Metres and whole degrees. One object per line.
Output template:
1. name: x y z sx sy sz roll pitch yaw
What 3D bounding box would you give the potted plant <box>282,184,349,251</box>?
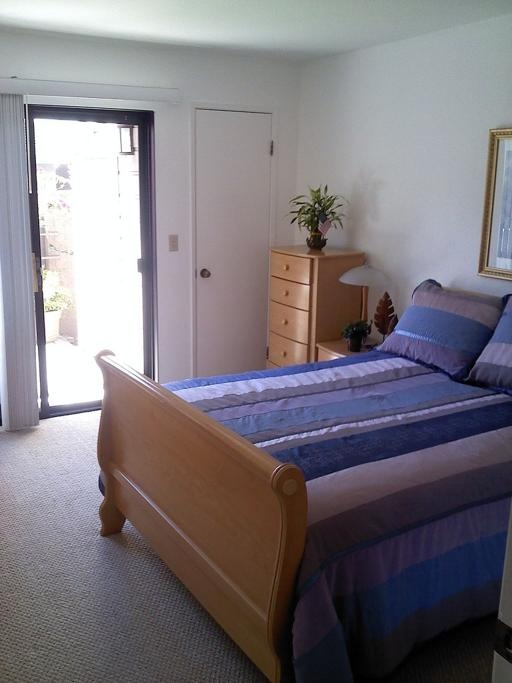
1. potted plant: 0.440 -0.873 3.851 0.417 0.405 0.358 0 9 11

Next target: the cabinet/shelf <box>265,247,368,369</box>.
1. cabinet/shelf: 0.384 -0.173 3.880 0.455 0.962 0.528 -8 18 -31

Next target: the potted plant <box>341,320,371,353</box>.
1. potted plant: 0.640 -0.037 3.466 0.191 0.194 0.189 -11 16 -38

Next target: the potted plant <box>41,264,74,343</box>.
1. potted plant: -1.436 -0.256 3.715 0.287 0.484 0.264 2 4 40
